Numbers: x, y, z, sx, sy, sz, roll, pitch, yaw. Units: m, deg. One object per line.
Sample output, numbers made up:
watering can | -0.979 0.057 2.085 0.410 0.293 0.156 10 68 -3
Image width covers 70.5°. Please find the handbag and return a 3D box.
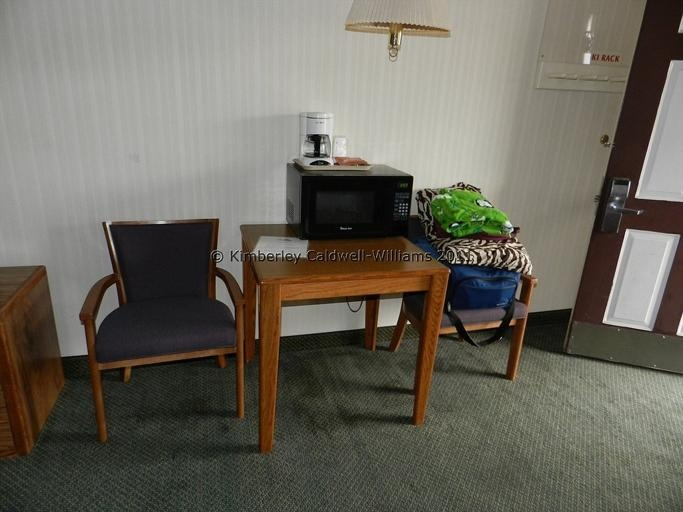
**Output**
handbag | 0.793 0.172 2.754 0.353 0.171 0.453 1 26 -14

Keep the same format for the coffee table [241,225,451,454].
coffee table | -0.042 0.371 2.819 1.031 0.980 0.879 -5 22 -14

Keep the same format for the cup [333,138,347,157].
cup | -0.004 -0.680 3.019 0.108 0.115 0.059 -7 22 -19

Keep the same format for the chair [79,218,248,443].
chair | -1.010 0.418 2.660 0.867 1.257 0.877 -3 20 -18

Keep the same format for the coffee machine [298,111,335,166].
coffee machine | -0.144 -0.675 2.766 0.187 0.272 0.253 -1 21 -4
